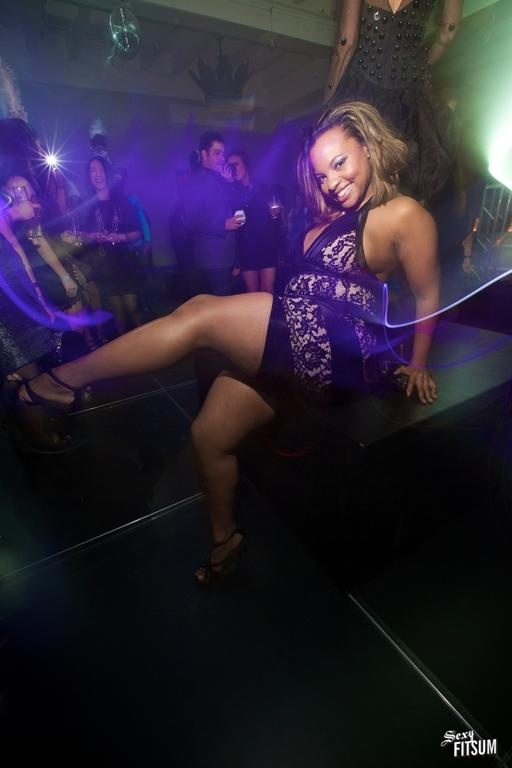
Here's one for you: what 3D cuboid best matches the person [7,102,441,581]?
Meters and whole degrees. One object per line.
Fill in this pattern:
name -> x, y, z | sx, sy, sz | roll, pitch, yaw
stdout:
person -> 0.009, -0.099, 1.382 | 0.908, 1.008, 0.575 | -19, 40, -19

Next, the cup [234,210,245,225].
cup -> -0.077, -0.886, 2.896 | 0.065, 0.066, 0.076 | 2, 20, 1

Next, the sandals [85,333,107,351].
sandals -> -0.832, -0.217, 2.779 | 0.158, 0.059, 0.151 | -7, 19, -33

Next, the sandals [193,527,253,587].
sandals -> -0.091, 0.462, 1.449 | 0.079, 0.049, 0.154 | 30, 60, 27
